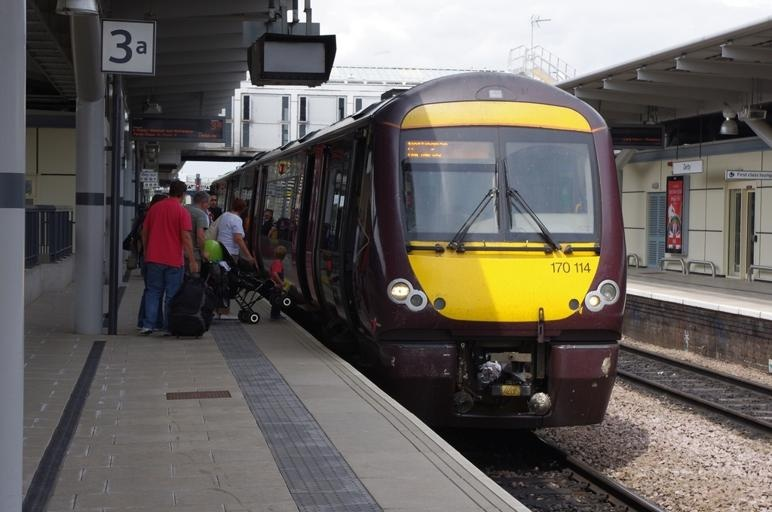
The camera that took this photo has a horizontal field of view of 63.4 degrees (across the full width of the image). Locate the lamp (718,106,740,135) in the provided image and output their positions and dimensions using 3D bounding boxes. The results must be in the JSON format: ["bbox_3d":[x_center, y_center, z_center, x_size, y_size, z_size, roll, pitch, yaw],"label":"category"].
[{"bbox_3d":[10.458,-4.148,19.019,0.377,0.847,1.063,3,4,28],"label":"lamp"}]

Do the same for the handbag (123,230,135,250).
[{"bbox_3d":[-4.887,-0.284,11.827,0.169,0.343,0.873,-1,4,-23],"label":"handbag"}]

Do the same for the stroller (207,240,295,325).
[{"bbox_3d":[-2.544,0.532,12.011,1.708,1.666,1.085,-1,4,-17],"label":"stroller"}]

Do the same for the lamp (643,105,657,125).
[{"bbox_3d":[9.443,-5.007,22.339,0.452,0.674,1.587,2,4,22],"label":"lamp"}]
